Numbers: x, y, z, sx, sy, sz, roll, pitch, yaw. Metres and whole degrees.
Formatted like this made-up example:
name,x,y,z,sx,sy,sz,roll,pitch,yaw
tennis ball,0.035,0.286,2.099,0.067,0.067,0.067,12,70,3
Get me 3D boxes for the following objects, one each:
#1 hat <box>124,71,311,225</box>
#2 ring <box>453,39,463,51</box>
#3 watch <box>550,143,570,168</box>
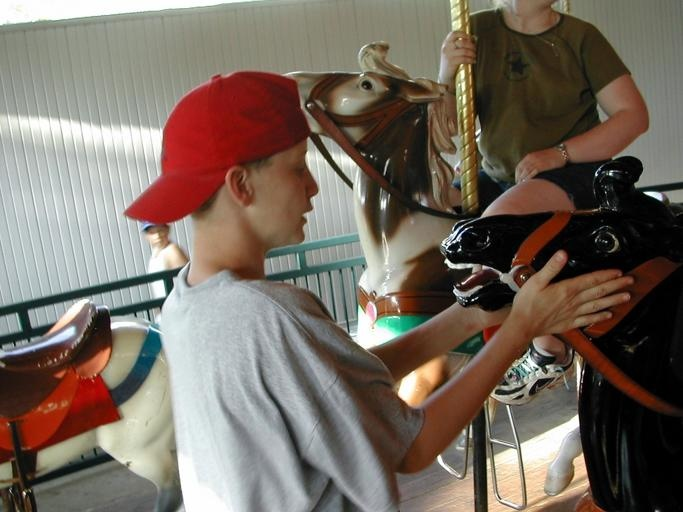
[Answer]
name,x,y,z,sx,sy,sz,roll,pitch,yaw
hat,-0.295,-0.259,1.389,0.500,0.282,0.318,-28,17,-30
ring,0.389,-0.706,2.002,0.021,0.033,0.012,-1,-4,28
watch,0.748,-0.352,2.042,0.062,0.072,0.051,-2,1,26
